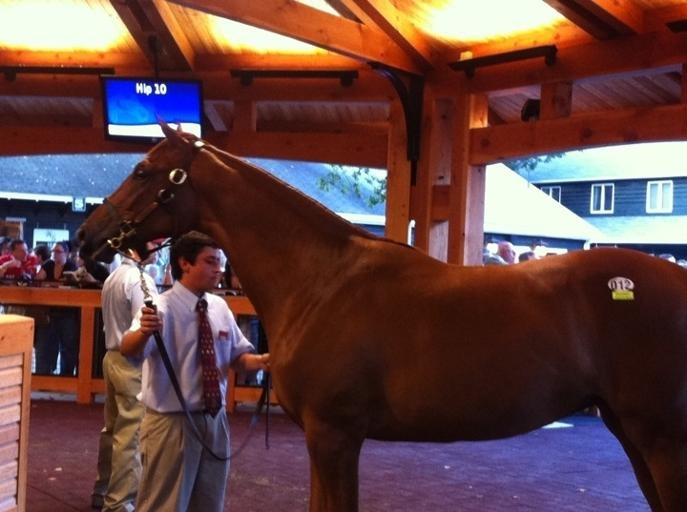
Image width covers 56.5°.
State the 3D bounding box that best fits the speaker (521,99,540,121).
[{"bbox_3d":[1.790,-1.376,6.081,0.179,0.224,0.053,7,6,32],"label":"speaker"}]
